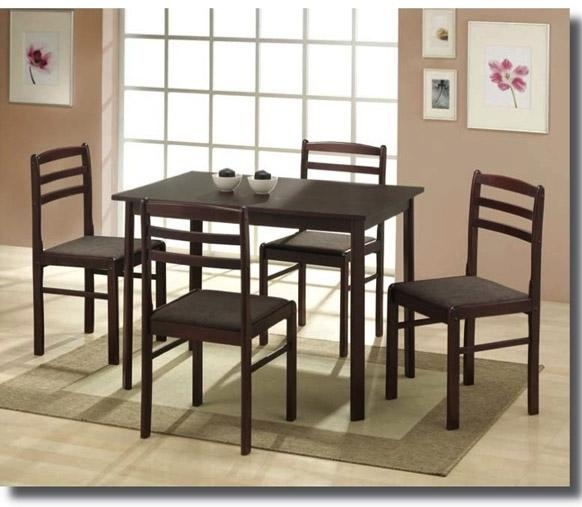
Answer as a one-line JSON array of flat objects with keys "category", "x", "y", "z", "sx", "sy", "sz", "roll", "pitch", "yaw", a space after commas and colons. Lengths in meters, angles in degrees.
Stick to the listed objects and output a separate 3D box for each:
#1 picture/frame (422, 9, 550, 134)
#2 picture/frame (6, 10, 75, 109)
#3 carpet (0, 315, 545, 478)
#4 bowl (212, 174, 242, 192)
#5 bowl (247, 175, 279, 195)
[{"category": "picture/frame", "x": 1.205, "y": -1.128, "z": 3.633, "sx": 0.773, "sy": 0.705, "sz": 0.051, "roll": 3, "pitch": 9, "yaw": 21}, {"category": "picture/frame", "x": -1.897, "y": -1.496, "z": 4.575, "sx": 0.599, "sy": 0.701, "sz": 0.056, "roll": 4, "pitch": 13, "yaw": 16}, {"category": "carpet", "x": -0.088, "y": 0.553, "z": 2.639, "sx": 2.115, "sy": 0.051, "sz": 1.190, "roll": 5, "pitch": 13, "yaw": 19}, {"category": "bowl", "x": -0.302, "y": -0.321, "z": 2.786, "sx": 0.096, "sy": 0.054, "sz": 0.095, "roll": 2, "pitch": 4, "yaw": 0}, {"category": "bowl", "x": -0.123, "y": -0.304, "z": 2.713, "sx": 0.094, "sy": 0.049, "sz": 0.094, "roll": 2, "pitch": 3, "yaw": 0}]
